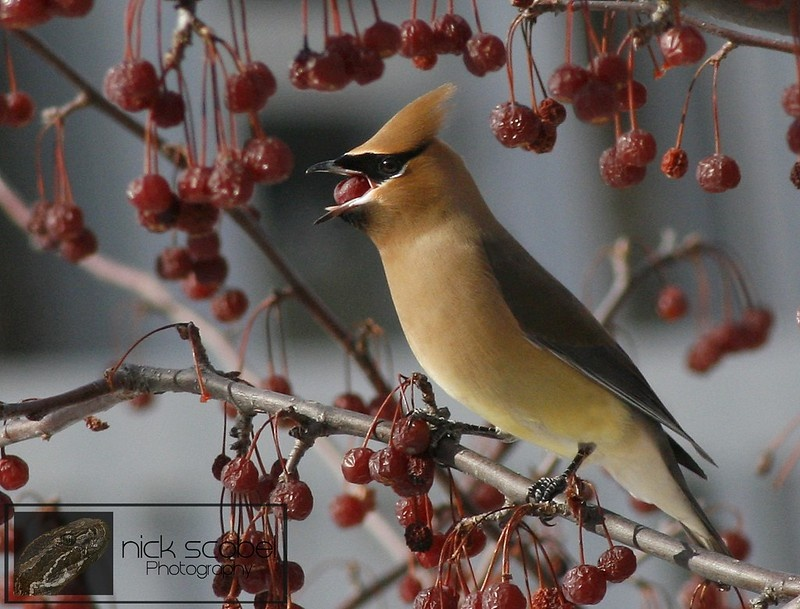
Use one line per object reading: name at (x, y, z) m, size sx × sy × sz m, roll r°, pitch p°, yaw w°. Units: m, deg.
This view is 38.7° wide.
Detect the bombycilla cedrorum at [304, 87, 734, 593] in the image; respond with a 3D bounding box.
bombycilla cedrorum at (0.294, 0.035, 2.776) m, size 1.075 × 0.973 × 0.376 m, roll 7°, pitch -12°, yaw -15°
